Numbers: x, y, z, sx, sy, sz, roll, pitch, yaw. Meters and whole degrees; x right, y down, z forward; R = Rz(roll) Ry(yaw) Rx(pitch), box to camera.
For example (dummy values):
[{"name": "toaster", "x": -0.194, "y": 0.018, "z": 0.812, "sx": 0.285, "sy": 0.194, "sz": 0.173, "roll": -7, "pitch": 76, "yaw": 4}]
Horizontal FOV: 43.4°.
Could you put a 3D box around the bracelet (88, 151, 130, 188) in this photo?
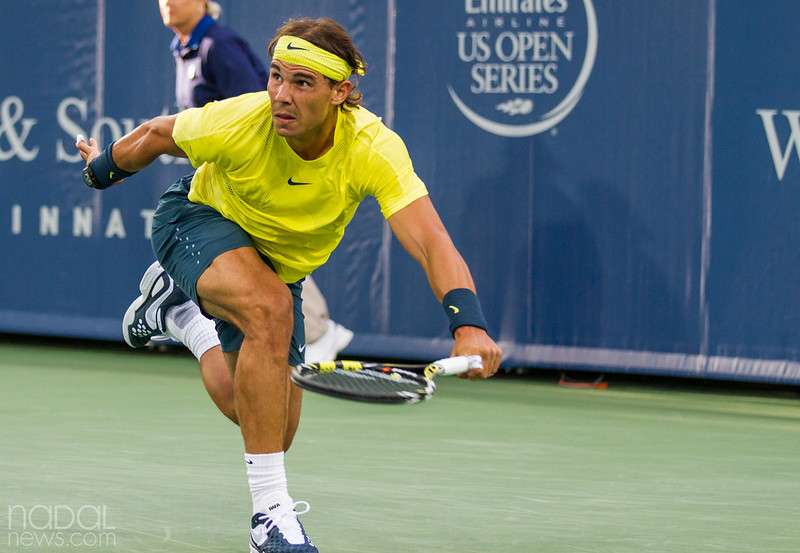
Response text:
[{"name": "bracelet", "x": -1.538, "y": -0.557, "z": 5.212, "sx": 0.223, "sy": 0.092, "sz": 0.164, "roll": -16, "pitch": 5, "yaw": -31}]

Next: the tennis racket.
[{"name": "tennis racket", "x": -0.064, "y": 0.434, "z": 4.435, "sx": 0.829, "sy": 0.217, "sz": 0.472, "roll": -1, "pitch": 8, "yaw": -9}]

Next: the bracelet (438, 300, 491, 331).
[{"name": "bracelet", "x": 0.295, "y": 0.180, "z": 4.562, "sx": 0.135, "sy": 0.146, "sz": 0.144, "roll": -16, "pitch": -24, "yaw": 4}]
